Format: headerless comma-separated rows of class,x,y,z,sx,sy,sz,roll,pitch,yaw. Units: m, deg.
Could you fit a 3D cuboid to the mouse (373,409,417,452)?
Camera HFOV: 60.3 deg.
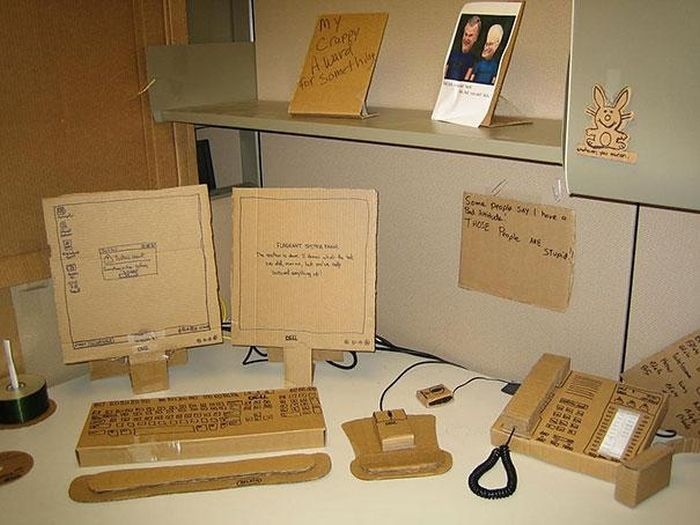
mouse,0.097,0.393,1.420,0.093,0.038,0.133,-7,17,1
